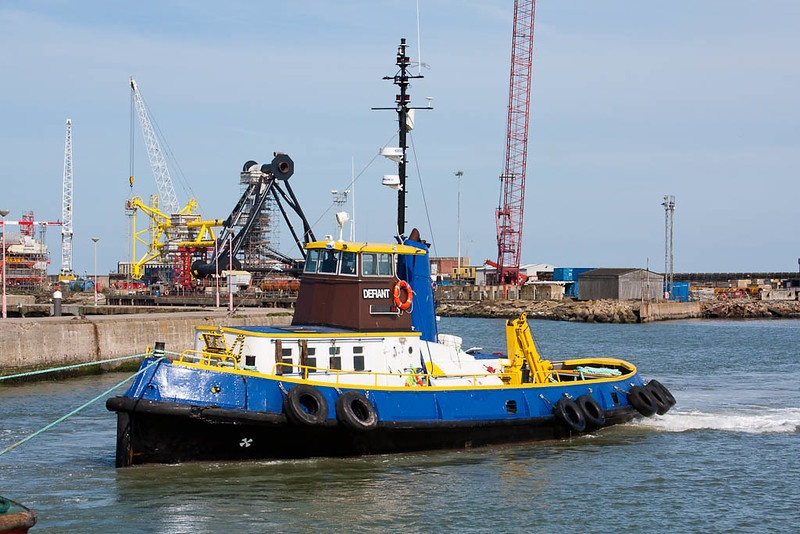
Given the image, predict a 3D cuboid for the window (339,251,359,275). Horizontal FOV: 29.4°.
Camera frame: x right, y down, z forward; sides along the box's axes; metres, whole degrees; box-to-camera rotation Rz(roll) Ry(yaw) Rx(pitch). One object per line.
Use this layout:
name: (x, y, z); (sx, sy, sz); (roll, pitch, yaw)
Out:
window: (-1.548, -0.110, 48.047); (0.832, 0.989, 0.106); (-1, 5, 1)

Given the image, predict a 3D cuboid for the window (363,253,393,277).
window: (-0.714, -0.068, 48.260); (0.845, 0.527, 0.066); (2, -6, -21)

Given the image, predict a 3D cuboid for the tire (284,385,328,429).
tire: (-2.856, 4.265, 46.197); (1.196, 1.108, 0.363); (22, -49, -6)

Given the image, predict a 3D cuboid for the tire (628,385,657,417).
tire: (8.050, 4.412, 50.282); (1.047, 0.274, 0.994); (30, 22, -22)

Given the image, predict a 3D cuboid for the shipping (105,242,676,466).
shipping: (-1.714, 2.665, 48.304); (16.812, 5.490, 6.736); (2, -4, -31)

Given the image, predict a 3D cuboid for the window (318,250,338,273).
window: (-2.207, -0.158, 48.267); (0.792, 0.791, 0.085); (1, 8, 8)
